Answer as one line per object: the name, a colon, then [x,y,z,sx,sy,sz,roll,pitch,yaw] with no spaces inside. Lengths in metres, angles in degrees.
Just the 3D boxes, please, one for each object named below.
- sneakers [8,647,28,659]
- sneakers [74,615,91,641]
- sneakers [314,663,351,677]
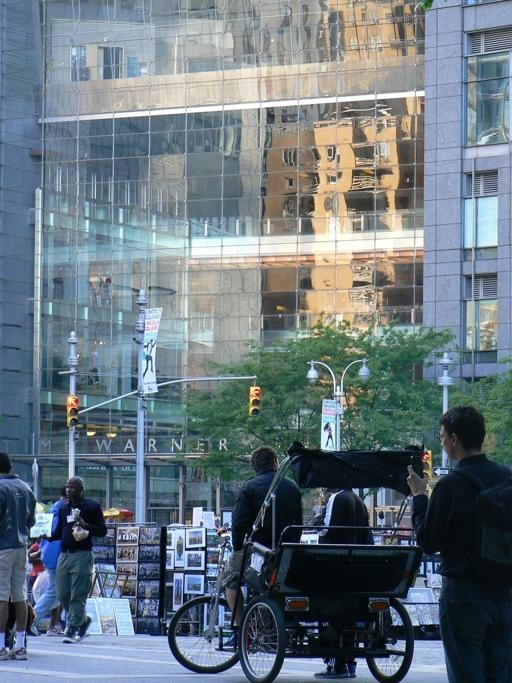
sneakers: [-3.421,4.598,28.198,0.271,0.171,0.208,0,-3,-17]
sneakers: [-2.716,4.662,30.980,0.148,0.499,0.190,15,-3,14]
sneakers: [1.141,4.735,27.492,0.532,0.243,0.200,0,-7,26]
